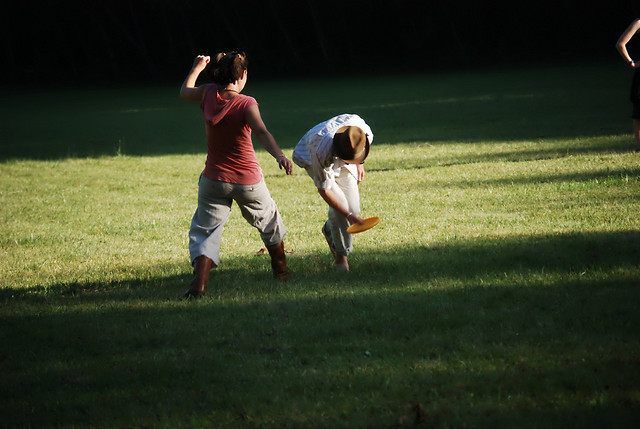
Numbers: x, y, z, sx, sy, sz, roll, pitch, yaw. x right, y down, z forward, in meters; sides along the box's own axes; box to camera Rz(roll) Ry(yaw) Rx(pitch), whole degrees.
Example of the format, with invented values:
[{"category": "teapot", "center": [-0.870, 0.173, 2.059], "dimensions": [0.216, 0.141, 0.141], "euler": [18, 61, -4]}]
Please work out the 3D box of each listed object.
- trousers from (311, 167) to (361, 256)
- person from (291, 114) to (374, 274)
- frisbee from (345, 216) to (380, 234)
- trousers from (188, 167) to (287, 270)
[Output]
[{"category": "trousers", "center": [0.295, -0.025, 12.976], "dimensions": [0.531, 1.163, 0.440], "euler": [-10, 14, -5]}, {"category": "person", "center": [0.309, -0.246, 12.874], "dimensions": [0.906, 2.037, 0.994], "euler": [-17, 16, -29]}, {"category": "frisbee", "center": [0.539, 0.156, 12.506], "dimensions": [0.412, 0.232, 0.431], "euler": [-9, 15, -2]}, {"category": "trousers", "center": [-1.119, 0.106, 13.141], "dimensions": [1.280, 1.352, 0.529], "euler": [-1, 13, 2]}]
